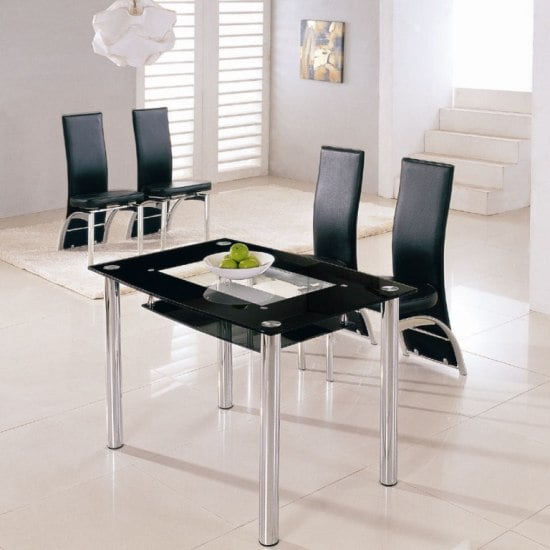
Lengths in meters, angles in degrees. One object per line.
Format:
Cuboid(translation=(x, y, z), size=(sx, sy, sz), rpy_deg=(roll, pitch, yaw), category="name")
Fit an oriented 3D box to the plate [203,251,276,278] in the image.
Cuboid(translation=(-0.113, -0.023, 1.975), size=(0.150, 0.037, 0.139), rpy_deg=(-5, 14, -18), category="plate")
